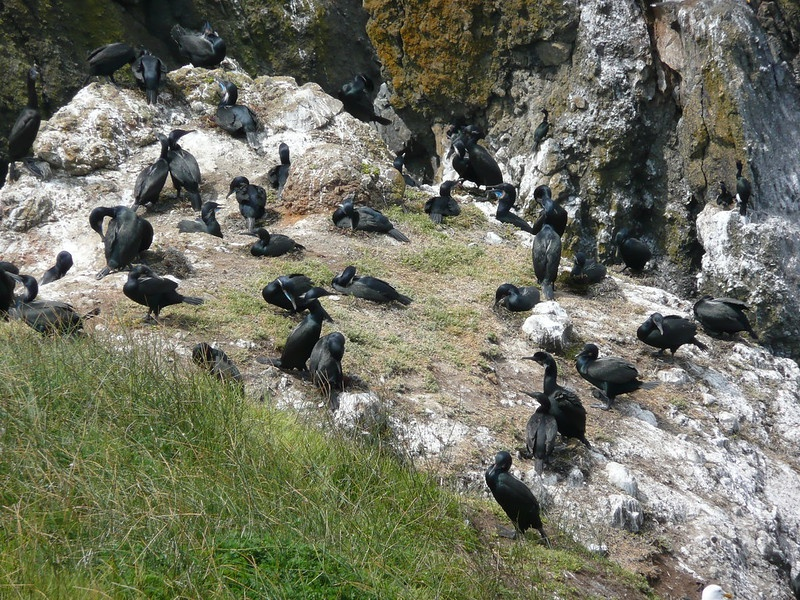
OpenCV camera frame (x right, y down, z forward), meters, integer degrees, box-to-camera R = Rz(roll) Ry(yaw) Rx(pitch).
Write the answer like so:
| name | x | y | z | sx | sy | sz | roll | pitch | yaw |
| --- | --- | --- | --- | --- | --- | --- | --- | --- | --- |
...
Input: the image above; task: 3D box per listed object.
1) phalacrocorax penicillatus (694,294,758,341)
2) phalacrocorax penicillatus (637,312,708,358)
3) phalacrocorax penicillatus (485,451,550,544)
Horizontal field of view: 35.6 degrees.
| name | x | y | z | sx | sy | sz | roll | pitch | yaw |
| --- | --- | --- | --- | --- | --- | --- | --- | --- | --- |
| phalacrocorax penicillatus | 5.256 | 0.243 | 20.362 | 1.007 | 0.714 | 0.580 | -1 | 4 | 29 |
| phalacrocorax penicillatus | 4.266 | 0.565 | 19.294 | 1.282 | 0.768 | 0.486 | -4 | -29 | 41 |
| phalacrocorax penicillatus | 1.494 | 2.525 | 15.833 | 0.650 | 1.047 | 0.777 | -8 | 19 | -29 |
